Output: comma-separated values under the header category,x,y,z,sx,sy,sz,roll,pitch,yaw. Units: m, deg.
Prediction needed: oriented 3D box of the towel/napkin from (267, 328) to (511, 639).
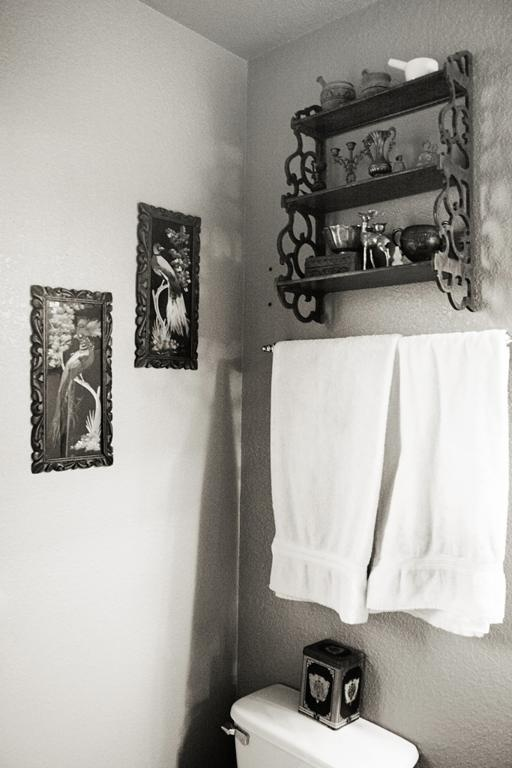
category,x,y,z,sx,sy,sz,roll,pitch,yaw
towel/napkin,0.310,0.217,1.545,0.663,0.763,0.179,-4,-7,42

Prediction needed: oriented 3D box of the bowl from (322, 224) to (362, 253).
category,x,y,z,sx,sy,sz,roll,pitch,yaw
bowl,0.205,-0.340,1.623,0.064,0.051,0.070,-5,-7,36

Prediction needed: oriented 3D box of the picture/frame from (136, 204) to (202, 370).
category,x,y,z,sx,sy,sz,roll,pitch,yaw
picture/frame,-0.230,-0.250,1.837,0.028,0.422,0.235,1,2,33

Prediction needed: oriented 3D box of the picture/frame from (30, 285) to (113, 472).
category,x,y,z,sx,sy,sz,roll,pitch,yaw
picture/frame,-0.418,-0.011,1.604,0.013,0.416,0.219,1,2,40
